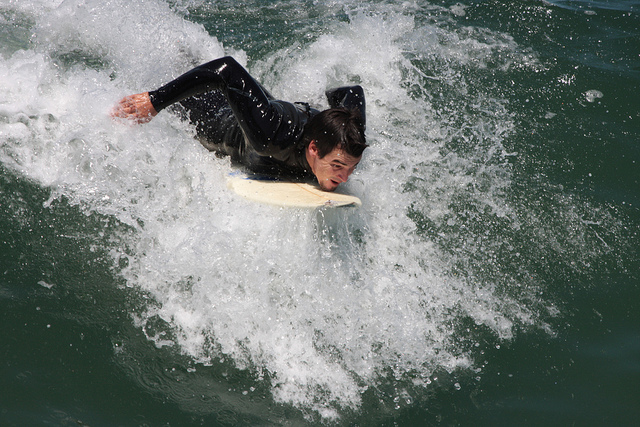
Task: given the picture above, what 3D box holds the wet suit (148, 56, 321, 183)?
[{"bbox_3d":[-1.058,-0.988,8.790,1.920,1.356,0.760,49,122,24],"label":"wet suit"}]
